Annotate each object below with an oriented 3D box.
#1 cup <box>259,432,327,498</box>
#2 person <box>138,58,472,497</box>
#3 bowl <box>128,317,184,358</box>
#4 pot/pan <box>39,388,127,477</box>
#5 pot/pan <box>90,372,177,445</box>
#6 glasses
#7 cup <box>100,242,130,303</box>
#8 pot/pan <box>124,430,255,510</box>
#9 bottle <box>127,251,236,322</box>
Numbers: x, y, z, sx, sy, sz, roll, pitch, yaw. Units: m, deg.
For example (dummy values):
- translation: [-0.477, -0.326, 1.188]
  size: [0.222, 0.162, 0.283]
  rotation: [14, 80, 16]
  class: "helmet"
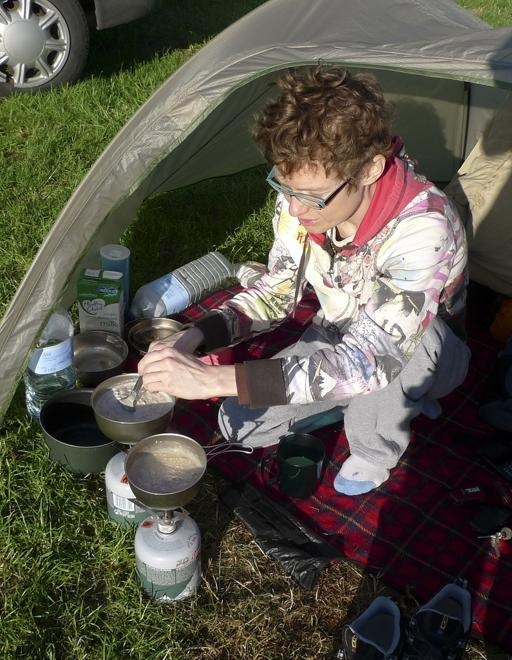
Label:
- translation: [0.175, 0.462, 1.966]
  size: [0.269, 0.172, 0.157]
  rotation: [-13, 38, -10]
  class: "cup"
- translation: [0.228, -0.079, 1.799]
  size: [1.164, 1.414, 0.701]
  rotation: [-6, 35, -11]
  class: "person"
- translation: [-0.464, 0.035, 2.574]
  size: [0.246, 0.038, 0.175]
  rotation: [-14, 52, -26]
  class: "bowl"
- translation: [-0.616, 0.369, 1.960]
  size: [0.316, 0.180, 0.293]
  rotation: [-3, 51, -9]
  class: "pot/pan"
- translation: [-0.418, 0.259, 1.856]
  size: [0.255, 0.126, 0.244]
  rotation: [1, 46, -4]
  class: "pot/pan"
- translation: [0.105, -0.388, 1.483]
  size: [0.140, 0.109, 0.277]
  rotation: [-17, 37, -26]
  class: "glasses"
- translation: [-0.610, -0.244, 2.393]
  size: [0.124, 0.280, 0.116]
  rotation: [4, 50, -5]
  class: "cup"
- translation: [-0.213, 0.397, 1.589]
  size: [0.298, 0.113, 0.164]
  rotation: [-6, 42, -11]
  class: "pot/pan"
- translation: [-0.354, -0.214, 2.827]
  size: [0.641, 0.196, 0.195]
  rotation: [-29, 76, -29]
  class: "bottle"
